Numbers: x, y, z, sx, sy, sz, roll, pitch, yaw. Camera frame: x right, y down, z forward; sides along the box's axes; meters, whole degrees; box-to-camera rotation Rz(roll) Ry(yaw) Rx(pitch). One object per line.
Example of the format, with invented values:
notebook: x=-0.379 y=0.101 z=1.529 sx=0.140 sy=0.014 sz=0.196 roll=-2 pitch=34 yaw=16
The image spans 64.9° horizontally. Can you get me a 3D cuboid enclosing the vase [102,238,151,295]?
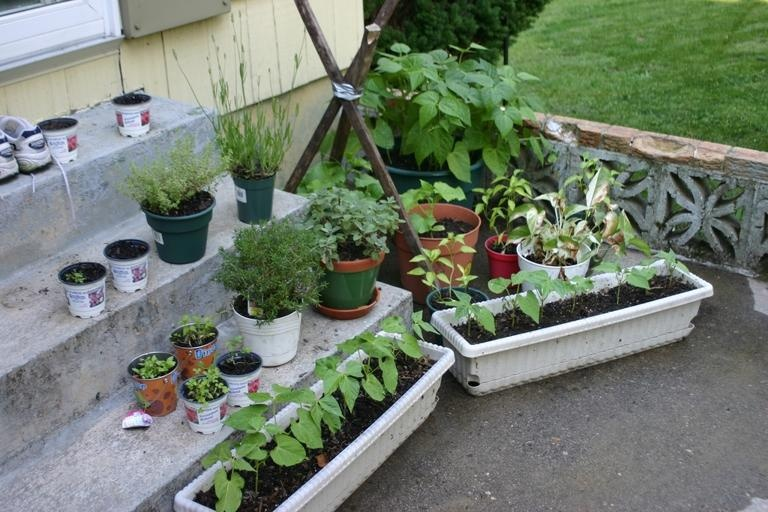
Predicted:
vase: x=-1.429 y=0.026 z=3.366 sx=0.268 sy=0.255 sz=0.278 roll=0 pitch=33 yaw=-14

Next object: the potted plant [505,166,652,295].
potted plant: x=1.360 y=-0.178 z=4.378 sx=1.012 sy=0.702 sz=0.988 roll=17 pitch=43 yaw=32

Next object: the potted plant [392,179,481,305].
potted plant: x=0.402 y=-0.135 z=4.422 sx=0.762 sy=0.667 sz=0.839 roll=-12 pitch=30 yaw=-19

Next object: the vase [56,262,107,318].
vase: x=-1.623 y=0.170 z=3.198 sx=0.237 sy=0.205 sz=0.259 roll=-25 pitch=40 yaw=-28

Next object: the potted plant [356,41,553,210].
potted plant: x=0.505 y=-0.884 z=5.089 sx=1.340 sy=0.808 sz=1.391 roll=17 pitch=46 yaw=10

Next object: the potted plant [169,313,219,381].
potted plant: x=-1.083 y=0.486 z=3.384 sx=0.307 sy=0.252 sz=0.318 roll=1 pitch=16 yaw=3
